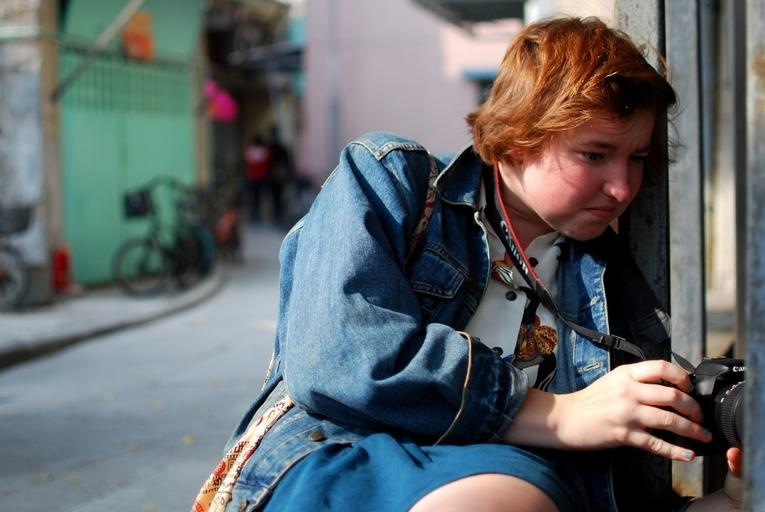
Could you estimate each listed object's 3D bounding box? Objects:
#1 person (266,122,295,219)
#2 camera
[{"bbox_3d":[-1.646,-1.307,14.306,0.307,1.400,1.005,-8,29,-7],"label":"person"},{"bbox_3d":[0.927,0.403,2.578,0.217,0.196,0.249,-1,3,-21],"label":"camera"}]
